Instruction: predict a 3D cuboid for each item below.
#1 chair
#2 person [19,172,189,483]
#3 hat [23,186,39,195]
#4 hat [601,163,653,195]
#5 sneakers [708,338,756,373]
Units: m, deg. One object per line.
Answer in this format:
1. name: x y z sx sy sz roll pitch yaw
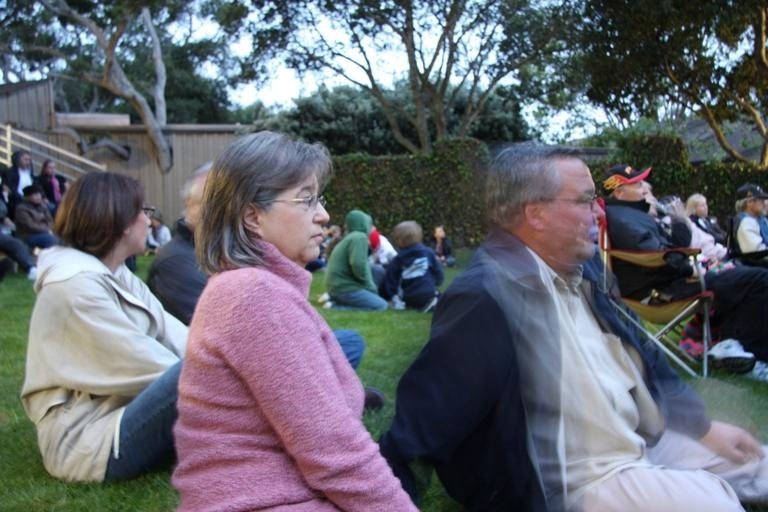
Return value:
1. chair: 2.659 0.324 6.197 1.140 1.906 1.126 -1 -3 -45
2. person: -1.738 0.472 4.035 1.006 1.953 0.509 4 8 2
3. hat: -6.001 -1.100 10.765 0.163 0.147 0.185 -1 -1 12
4. hat: 2.533 -0.766 6.603 0.469 0.264 0.319 -27 5 18
5. sneakers: 3.166 0.918 5.759 0.269 0.129 0.309 -10 38 13
